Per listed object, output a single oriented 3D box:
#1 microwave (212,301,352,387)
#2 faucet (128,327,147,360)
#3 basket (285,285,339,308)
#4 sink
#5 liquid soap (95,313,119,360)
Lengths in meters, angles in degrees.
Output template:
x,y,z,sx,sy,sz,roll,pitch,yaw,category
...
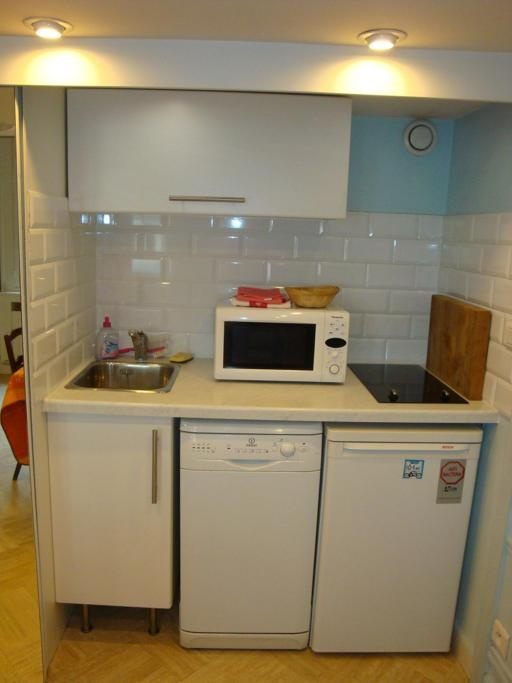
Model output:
x,y,z,sx,sy,sz,roll,pitch,yaw,category
0.074,0.009,1.973,0.463,0.294,0.268,1,5,-1,microwave
-0.478,0.000,2.279,0.070,0.128,0.164,-1,12,-12,faucet
0.201,-0.164,2.039,0.115,0.049,0.116,-1,1,34,basket
-0.503,0.126,2.178,0.211,0.081,0.169,1,18,-1,sink
-0.613,-0.017,2.299,0.094,0.173,0.096,-2,13,-15,liquid soap
